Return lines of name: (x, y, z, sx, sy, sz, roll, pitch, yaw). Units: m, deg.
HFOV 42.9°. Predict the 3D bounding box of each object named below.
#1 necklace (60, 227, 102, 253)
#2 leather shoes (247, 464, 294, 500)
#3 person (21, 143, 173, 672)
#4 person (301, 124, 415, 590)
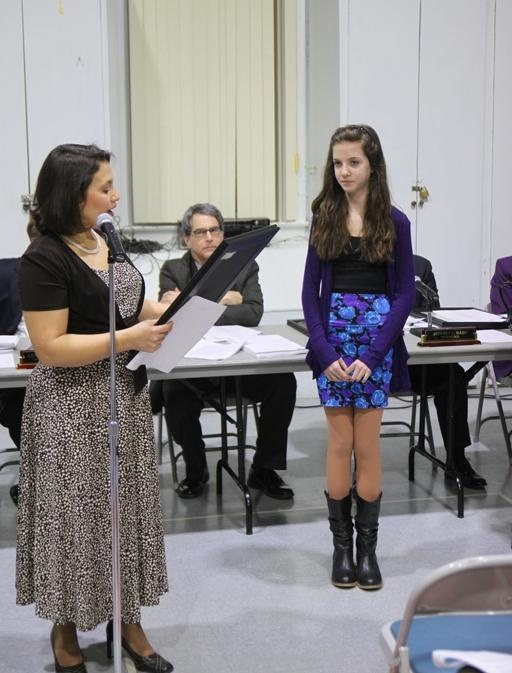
necklace: (-0.399, -0.219, 1.486, 0.065, 0.062, 0.015, -12, 19, -26)
leather shoes: (0.067, 0.685, 3.105, 0.098, 0.111, 0.260, -2, 8, -38)
person: (-0.394, 0.238, 1.542, 0.398, 1.351, 0.401, -2, 7, -8)
person: (0.340, 0.080, 2.188, 0.366, 1.545, 0.278, 0, 7, 4)
